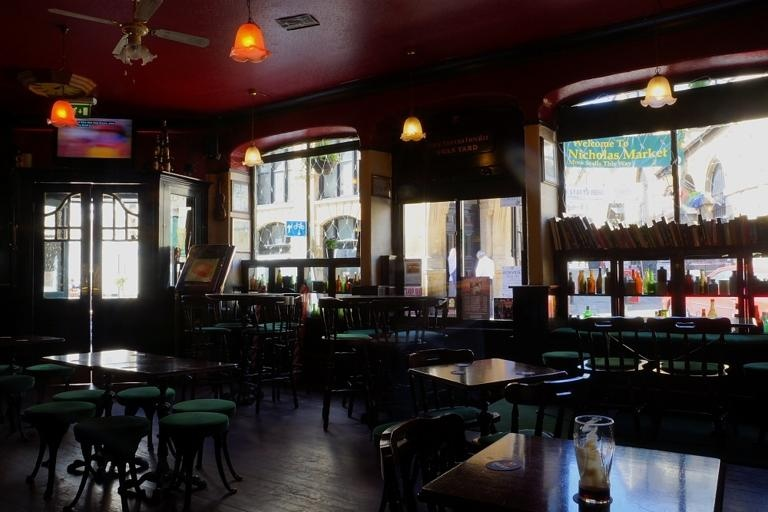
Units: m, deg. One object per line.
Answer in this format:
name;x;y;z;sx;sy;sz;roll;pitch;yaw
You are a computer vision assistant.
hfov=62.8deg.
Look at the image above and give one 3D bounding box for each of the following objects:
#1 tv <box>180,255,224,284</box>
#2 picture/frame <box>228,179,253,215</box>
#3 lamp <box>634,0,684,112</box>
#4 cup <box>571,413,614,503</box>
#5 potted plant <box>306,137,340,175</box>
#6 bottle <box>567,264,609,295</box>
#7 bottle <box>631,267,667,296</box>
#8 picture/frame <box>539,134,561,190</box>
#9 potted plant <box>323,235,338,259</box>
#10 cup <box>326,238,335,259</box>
tv;-2.938;0.231;10.075;0.657;0.445;0.252;-3;-6;22
picture/frame;-2.661;-1.073;11.537;0.080;0.697;0.701;-4;0;30
lamp;3.461;-2.348;7.952;0.436;1.291;1.538;-4;-6;23
cup;1.386;1.334;4.146;0.241;0.551;0.199;-3;-6;14
potted plant;-1.064;-1.730;11.086;0.611;0.439;0.527;-2;-2;38
bottle;2.884;0.341;8.819;0.426;0.382;0.136;4;0;30
bottle;3.575;0.352;8.480;0.144;0.362;0.410;2;-2;-44
picture/frame;2.339;-1.340;8.929;0.067;0.830;0.868;-5;-3;28
potted plant;-0.902;-0.133;10.615;0.344;0.431;0.297;1;-6;0
cup;-0.900;-0.120;10.562;0.163;0.316;0.144;-1;-6;-7
